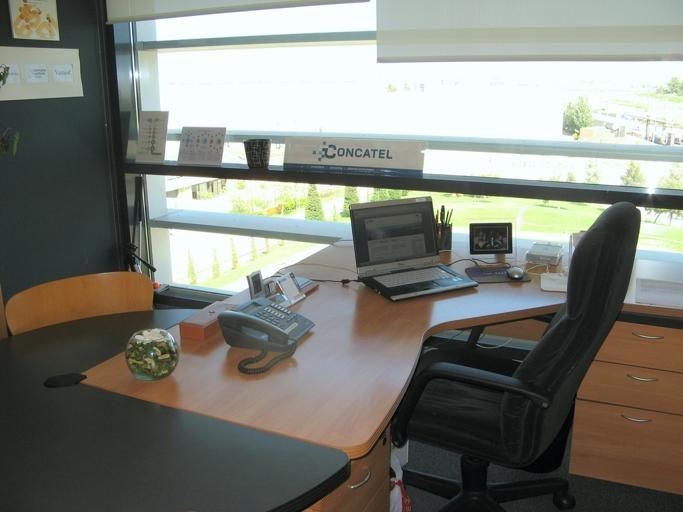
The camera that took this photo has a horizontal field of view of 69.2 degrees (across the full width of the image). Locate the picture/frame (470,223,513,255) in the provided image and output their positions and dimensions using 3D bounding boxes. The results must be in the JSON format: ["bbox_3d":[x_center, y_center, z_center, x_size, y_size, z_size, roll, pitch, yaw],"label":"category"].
[{"bbox_3d":[0.798,-0.097,2.643,0.187,0.126,0.017,1,2,5],"label":"picture/frame"}]

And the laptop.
[{"bbox_3d":[0.302,-0.065,2.511,0.646,0.420,0.520,-9,20,-26],"label":"laptop"}]

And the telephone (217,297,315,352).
[{"bbox_3d":[-0.304,0.262,1.883,0.224,0.076,0.224,5,14,18],"label":"telephone"}]
